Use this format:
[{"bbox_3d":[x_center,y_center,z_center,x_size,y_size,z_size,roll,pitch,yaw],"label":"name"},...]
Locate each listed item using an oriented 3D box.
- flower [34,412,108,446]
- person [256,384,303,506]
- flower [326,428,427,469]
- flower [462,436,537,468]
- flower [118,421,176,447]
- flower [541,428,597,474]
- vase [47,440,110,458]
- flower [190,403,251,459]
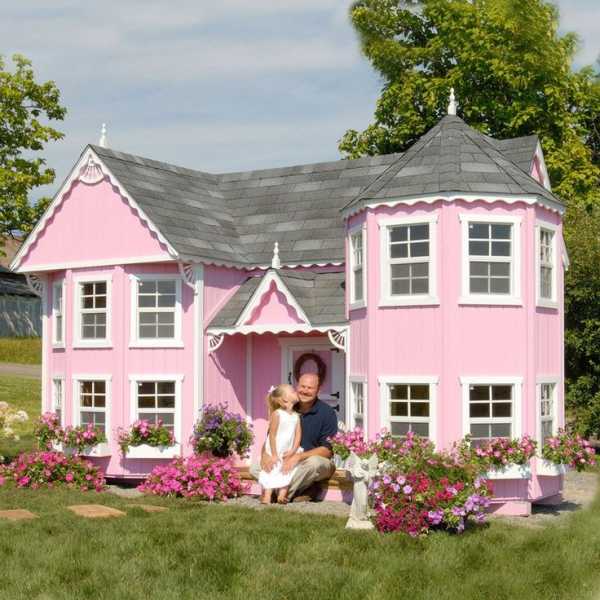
[{"bbox_3d":[-4.751,2.702,28.432,1.075,0.605,0.746,13,19,29],"label":"flower"},{"bbox_3d":[-0.377,2.625,25.328,0.756,2.110,0.717,-3,0,10],"label":"person"},{"bbox_3d":[1.508,2.555,24.566,1.277,0.577,2.094,-4,-1,-21],"label":"flower"},{"bbox_3d":[3.511,2.671,24.565,1.382,0.576,0.454,-4,0,-24],"label":"flower"},{"bbox_3d":[-3.059,2.661,27.636,1.125,0.588,0.439,-4,0,3],"label":"flower"},{"bbox_3d":[4.904,2.731,25.434,0.722,0.599,0.760,3,3,9],"label":"flower"},{"bbox_3d":[-4.404,2.994,28.011,0.934,0.331,0.237,4,3,8],"label":"vase"},{"bbox_3d":[-1.495,2.680,27.657,0.954,1.231,1.115,-10,-14,34],"label":"flower"}]
